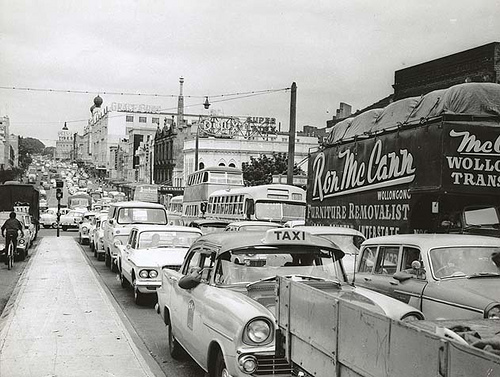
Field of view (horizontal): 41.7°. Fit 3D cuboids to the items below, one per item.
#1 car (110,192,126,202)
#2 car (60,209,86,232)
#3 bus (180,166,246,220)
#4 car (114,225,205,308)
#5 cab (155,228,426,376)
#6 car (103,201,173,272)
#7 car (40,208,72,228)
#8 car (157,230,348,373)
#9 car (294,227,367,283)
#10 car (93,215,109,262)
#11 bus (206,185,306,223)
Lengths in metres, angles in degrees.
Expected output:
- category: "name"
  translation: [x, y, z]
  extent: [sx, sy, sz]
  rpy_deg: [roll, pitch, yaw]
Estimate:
- category: "car"
  translation: [-12.822, 0.846, 63.702]
  extent: [1.138, 0.875, 1.990]
  rpy_deg: [1, 0, -16]
- category: "car"
  translation: [-12.406, 2.343, 46.282]
  extent: [1.526, 1.213, 3.548]
  rpy_deg: [0, 3, 3]
- category: "bus"
  translation: [-2.173, 0.121, 37.725]
  extent: [2.022, 2.278, 5.120]
  rpy_deg: [0, -3, -19]
- category: "car"
  translation: [-2.285, 1.664, 15.571]
  extent: [1.362, 0.940, 2.763]
  rpy_deg: [2, -1, -20]
- category: "cab"
  translation: [0.186, 1.656, 9.246]
  extent: [2.094, 1.591, 3.822]
  rpy_deg: [3, -2, -34]
- category: "car"
  translation: [-3.586, 1.260, 21.049]
  extent: [1.589, 1.595, 2.718]
  rpy_deg: [1, -5, -19]
- category: "car"
  translation: [-15.414, 2.589, 51.069]
  extent: [1.943, 1.345, 3.962]
  rpy_deg: [-1, 2, 0]
- category: "car"
  translation: [-0.135, 1.504, 9.224]
  extent: [1.506, 1.093, 2.818]
  rpy_deg: [1, -4, -20]
- category: "car"
  translation: [1.354, 1.117, 10.844]
  extent: [1.022, 0.836, 1.727]
  rpy_deg: [1, -4, -14]
- category: "car"
  translation: [-5.427, 1.872, 23.995]
  extent: [0.689, 0.877, 1.746]
  rpy_deg: [-1, 1, -12]
- category: "bus"
  translation: [0.089, 0.709, 27.754]
  extent: [1.499, 1.193, 4.105]
  rpy_deg: [1, -4, -23]
